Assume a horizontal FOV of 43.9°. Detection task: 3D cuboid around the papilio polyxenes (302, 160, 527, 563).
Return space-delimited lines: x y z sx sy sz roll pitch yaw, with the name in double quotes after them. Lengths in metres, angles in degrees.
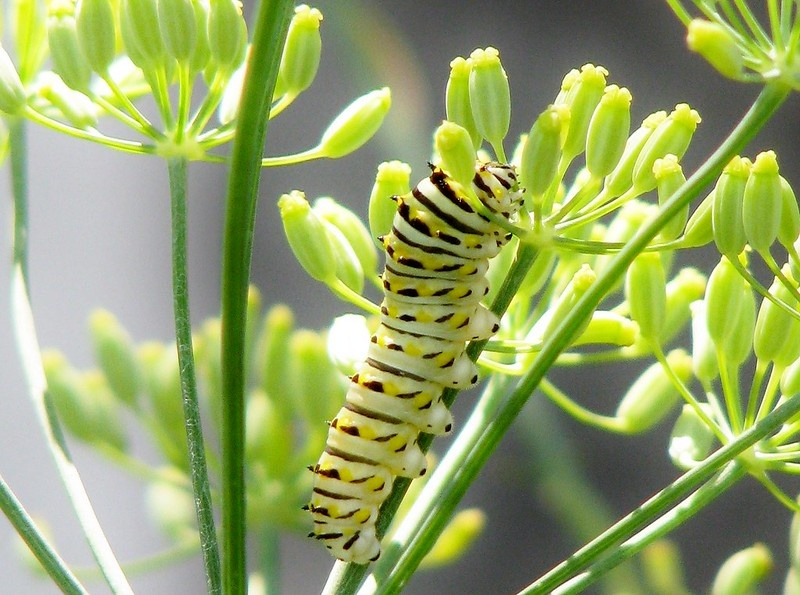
0.006 0.060 1.048 0.128 0.504 0.156 14 4 -14 "papilio polyxenes"
